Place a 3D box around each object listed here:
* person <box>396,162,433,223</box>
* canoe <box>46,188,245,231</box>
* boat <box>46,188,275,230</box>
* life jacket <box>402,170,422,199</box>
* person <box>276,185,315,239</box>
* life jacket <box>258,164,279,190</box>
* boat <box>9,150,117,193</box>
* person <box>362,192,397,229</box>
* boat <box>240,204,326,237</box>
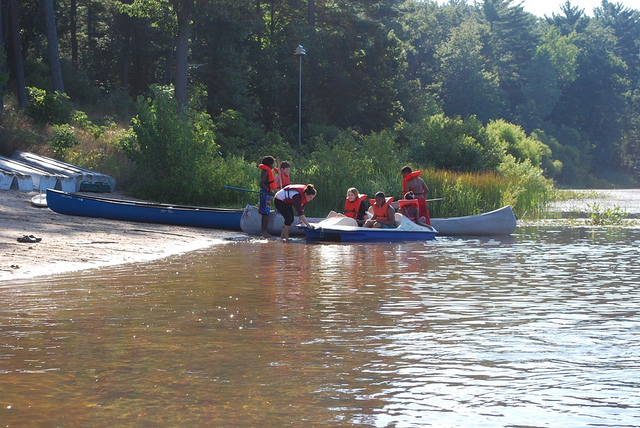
[{"bbox_3d":[3.384,-0.875,35.729,1.189,2.426,1.186,0,0,2],"label":"person"},{"bbox_3d":[-6.284,-0.149,35.433,6.657,1.370,0.430,1,0,-4],"label":"canoe"},{"bbox_3d":[-5.970,-0.136,36.080,5.673,0.736,1.065,6,1,-9],"label":"boat"},{"bbox_3d":[3.140,-1.166,35.319,0.810,0.804,0.221,4,11,-22],"label":"life jacket"},{"bbox_3d":[-0.938,-0.330,33.640,1.570,1.952,1.015,2,38,1],"label":"person"},{"bbox_3d":[-1.680,-1.253,34.165,0.847,0.782,0.590,-8,11,-41],"label":"life jacket"},{"bbox_3d":[-11.041,-1.870,41.729,1.802,0.883,6.543,-5,14,-42],"label":"boat"},{"bbox_3d":[2.084,-0.117,34.407,0.782,1.222,1.013,1,0,40],"label":"person"},{"bbox_3d":[-0.740,0.298,35.790,4.199,1.209,1.075,4,-6,-26],"label":"boat"}]
